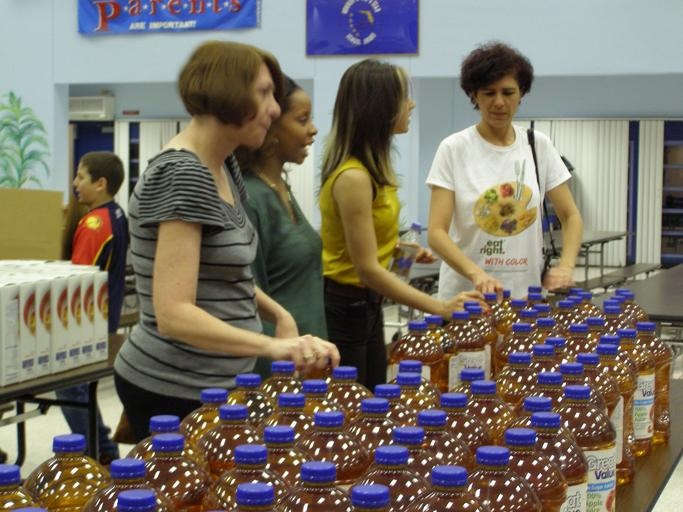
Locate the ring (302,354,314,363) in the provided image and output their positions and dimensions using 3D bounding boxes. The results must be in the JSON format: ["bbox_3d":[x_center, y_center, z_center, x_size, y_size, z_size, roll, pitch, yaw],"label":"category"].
[{"bbox_3d":[-0.070,0.214,1.329,0.014,0.013,0.016,2,1,2],"label":"ring"}]

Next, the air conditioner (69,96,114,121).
[{"bbox_3d":[-5.663,-3.419,14.502,0.966,0.607,0.530,-1,-3,4],"label":"air conditioner"}]
